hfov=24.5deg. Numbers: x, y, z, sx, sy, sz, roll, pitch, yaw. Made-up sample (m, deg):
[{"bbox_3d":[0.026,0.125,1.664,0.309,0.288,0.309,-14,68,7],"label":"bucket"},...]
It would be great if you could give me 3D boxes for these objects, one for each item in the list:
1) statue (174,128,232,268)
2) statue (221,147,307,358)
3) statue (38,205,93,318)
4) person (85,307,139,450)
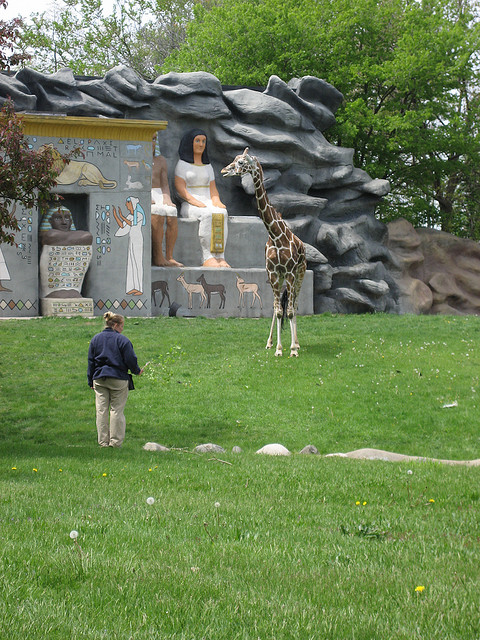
[{"bbox_3d":[-1.132,-3.940,35.425,1.065,4.415,2.312,-2,7,-31],"label":"statue"},{"bbox_3d":[0.835,-1.314,23.265,0.844,3.817,3.111,1,3,20],"label":"statue"},{"bbox_3d":[-4.697,-1.564,29.750,1.203,3.295,1.601,-1,-7,-15],"label":"statue"},{"bbox_3d":[-1.744,0.851,15.264,0.659,1.962,0.849,-1,5,-10],"label":"person"}]
